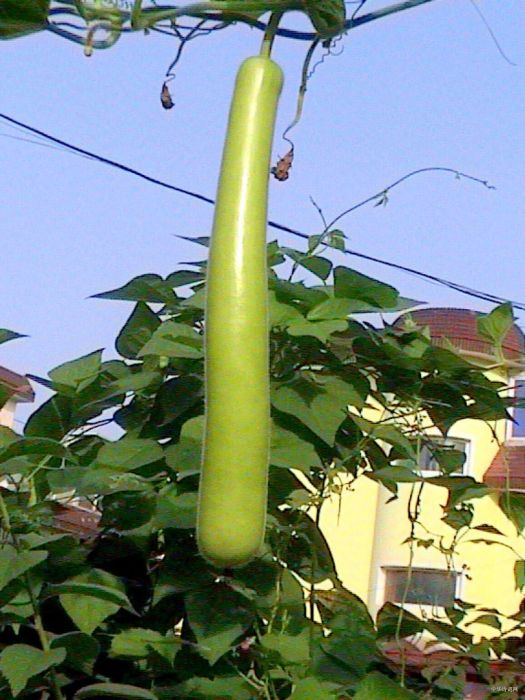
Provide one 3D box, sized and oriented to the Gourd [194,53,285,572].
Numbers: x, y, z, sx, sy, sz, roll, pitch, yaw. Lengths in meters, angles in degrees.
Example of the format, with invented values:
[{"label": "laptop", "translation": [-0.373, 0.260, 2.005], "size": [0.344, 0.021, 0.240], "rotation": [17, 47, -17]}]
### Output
[{"label": "Gourd", "translation": [-0.033, -0.035, 0.670], "size": [0.090, 0.453, 0.071], "rotation": [1, 1, 7]}]
